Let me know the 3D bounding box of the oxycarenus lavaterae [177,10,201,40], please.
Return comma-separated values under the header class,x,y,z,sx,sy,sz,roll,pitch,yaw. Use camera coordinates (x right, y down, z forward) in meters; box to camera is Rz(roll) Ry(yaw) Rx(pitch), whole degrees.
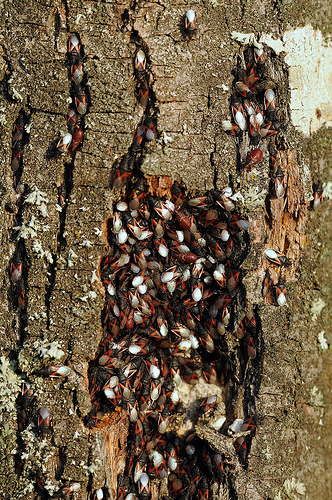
class,x,y,z,sx,sy,sz,roll,pitch,yaw
oxycarenus lavaterae,0.178,-1.786,9.352,0.135,0.070,0.235,3,96,-9
